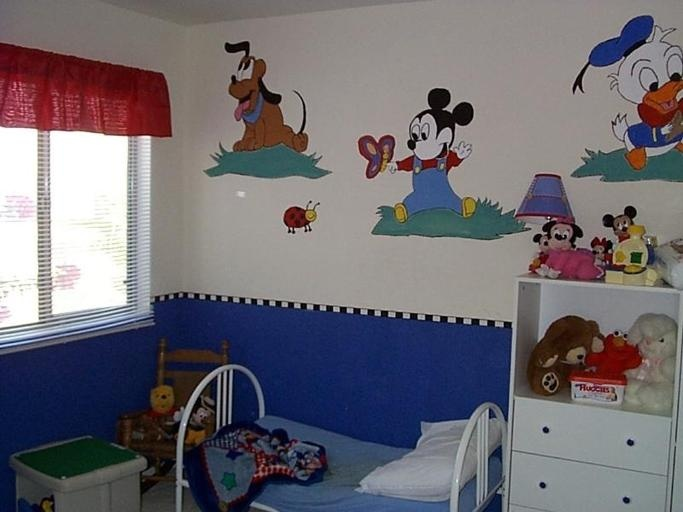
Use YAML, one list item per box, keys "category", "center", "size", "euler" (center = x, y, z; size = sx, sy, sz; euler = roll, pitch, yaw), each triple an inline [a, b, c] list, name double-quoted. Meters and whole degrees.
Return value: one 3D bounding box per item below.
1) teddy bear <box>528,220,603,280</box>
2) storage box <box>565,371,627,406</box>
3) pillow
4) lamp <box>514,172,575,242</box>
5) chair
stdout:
- category: "teddy bear"
  center: [1.313, 0.007, 3.373]
  size: [0.294, 0.371, 0.447]
  euler: [8, -7, -43]
- category: "storage box"
  center: [1.416, 0.713, 3.188]
  size: [0.208, 0.118, 0.155]
  euler: [3, -1, 25]
- category: "pillow"
  center: [0.544, 1.224, 3.478]
  size: [0.552, 0.221, 0.679]
  euler: [-10, 1, 32]
- category: "lamp"
  center: [1.200, -0.275, 3.463]
  size: [0.314, 0.477, 0.327]
  euler: [2, -6, 0]
- category: "chair"
  center: [-1.203, 1.167, 4.219]
  size: [0.605, 1.089, 0.746]
  euler: [2, 2, -2]
